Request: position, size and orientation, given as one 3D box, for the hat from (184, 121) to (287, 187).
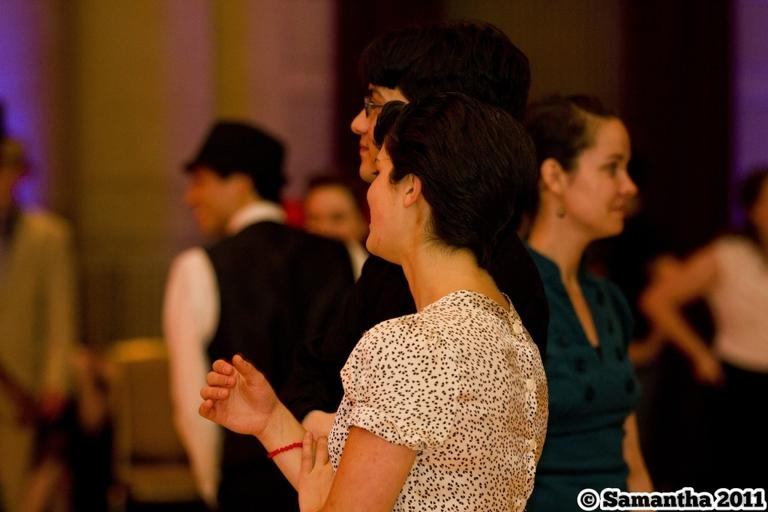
[{"bbox_3d":[-0.628,-0.403,3.991,0.347,0.219,0.254,27,1,4],"label":"hat"}]
